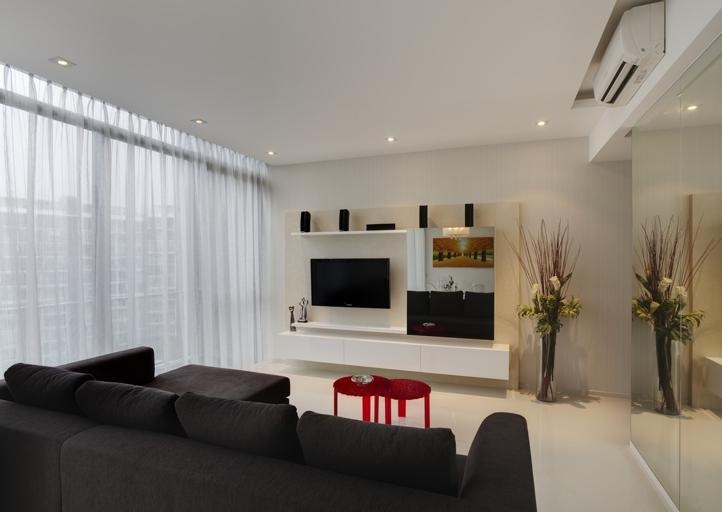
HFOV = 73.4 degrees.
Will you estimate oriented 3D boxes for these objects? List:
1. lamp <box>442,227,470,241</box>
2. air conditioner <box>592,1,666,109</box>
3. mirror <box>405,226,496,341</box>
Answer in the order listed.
[{"bbox_3d":[1.089,-0.270,5.617,0.314,0.132,0.058,2,-3,10],"label":"lamp"},{"bbox_3d":[2.048,-1.553,3.701,0.291,0.455,0.585,2,-4,11],"label":"air conditioner"},{"bbox_3d":[1.077,0.311,5.640,1.279,1.692,0.069,0,-1,18],"label":"mirror"}]
